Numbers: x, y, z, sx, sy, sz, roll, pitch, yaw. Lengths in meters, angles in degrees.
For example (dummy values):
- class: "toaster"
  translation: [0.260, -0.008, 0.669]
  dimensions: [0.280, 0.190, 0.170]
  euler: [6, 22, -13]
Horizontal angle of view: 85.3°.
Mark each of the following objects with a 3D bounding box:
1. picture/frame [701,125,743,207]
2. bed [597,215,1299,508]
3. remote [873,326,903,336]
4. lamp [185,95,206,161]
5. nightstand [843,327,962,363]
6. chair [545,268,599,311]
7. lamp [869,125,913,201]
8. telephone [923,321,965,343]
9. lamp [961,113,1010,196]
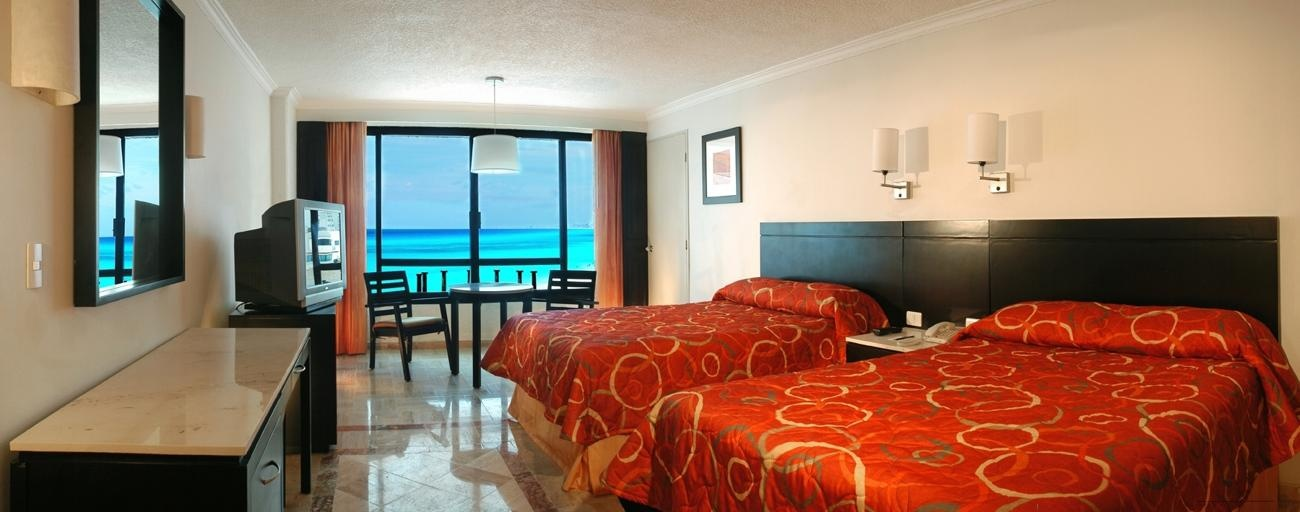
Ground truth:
- class: "picture/frame"
  translation: [0.988, -1.205, 9.571]
  dimensions: [0.091, 1.016, 0.697]
  euler: [-7, 7, -41]
- class: "bed"
  translation: [2.902, 0.998, 6.401]
  dimensions: [4.157, 1.718, 1.311]
  euler: [-1, -2, 39]
- class: "remote"
  translation: [2.591, 0.814, 7.622]
  dimensions: [0.276, 0.042, 0.121]
  euler: [-2, 0, -26]
- class: "lamp"
  translation: [-4.415, -1.246, 6.823]
  dimensions: [0.165, 0.617, 0.159]
  euler: [-3, 6, -8]
- class: "nightstand"
  translation: [2.583, 0.920, 7.412]
  dimensions: [0.743, 0.304, 0.655]
  euler: [-3, 3, -34]
- class: "chair"
  translation: [-1.056, 0.485, 9.665]
  dimensions: [0.821, 0.710, 0.627]
  euler: [1, -1, -1]
- class: "lamp"
  translation: [2.709, -1.021, 7.865]
  dimensions: [0.418, 0.794, 0.299]
  euler: [-1, 6, 13]
- class: "telephone"
  translation: [3.080, 0.804, 7.383]
  dimensions: [0.377, 0.081, 0.238]
  euler: [-5, 6, -27]
- class: "lamp"
  translation: [3.509, -1.054, 7.286]
  dimensions: [0.398, 0.818, 0.287]
  euler: [0, 6, 21]
